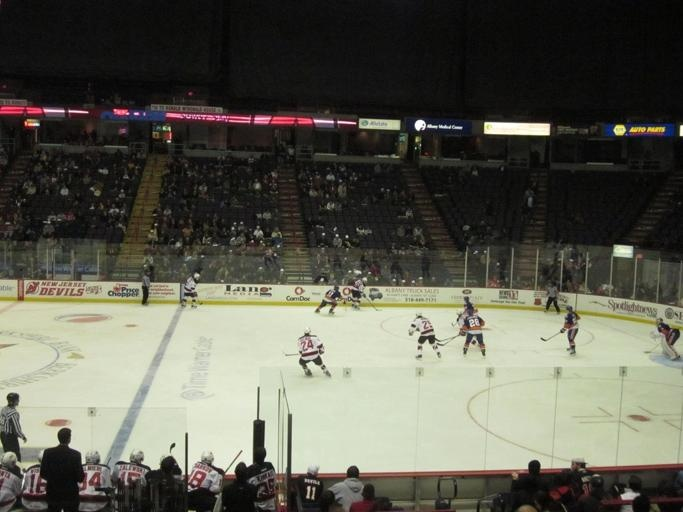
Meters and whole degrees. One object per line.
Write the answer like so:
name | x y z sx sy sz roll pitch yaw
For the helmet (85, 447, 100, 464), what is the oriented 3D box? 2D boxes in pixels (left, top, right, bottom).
helmet | -3.649 2.951 11.249 0.153 0.200 0.196 1 12 -2

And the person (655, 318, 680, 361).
person | 8.951 2.282 20.823 0.533 1.119 1.527 -2 -6 23

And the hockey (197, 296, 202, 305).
hockey | -5.082 1.600 27.431 0.217 0.267 0.076 3 -6 -28

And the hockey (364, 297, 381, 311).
hockey | 1.158 1.742 27.855 0.130 0.539 0.069 10 -49 -47

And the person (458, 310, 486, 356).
person | 3.585 2.034 20.614 0.577 1.400 0.564 -3 8 11

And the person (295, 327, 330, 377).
person | -0.664 2.211 17.404 0.784 0.642 1.483 -7 38 -14

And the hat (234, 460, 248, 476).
hat | -1.418 3.033 10.843 0.155 0.212 0.206 3 11 -2

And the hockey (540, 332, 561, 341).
hockey | 6.383 2.476 23.380 0.487 0.274 1.369 -4 -6 33

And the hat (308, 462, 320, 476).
hat | -0.404 3.195 11.388 0.172 0.162 0.134 -6 10 1

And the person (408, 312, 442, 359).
person | 2.353 2.286 21.499 0.706 1.229 0.841 -24 31 -32

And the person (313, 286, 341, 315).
person | -0.501 1.543 26.830 0.647 0.341 0.870 9 -40 -31

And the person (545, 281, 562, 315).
person | 7.645 1.503 27.553 0.536 1.147 1.573 -2 -5 16

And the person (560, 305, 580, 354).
person | 6.492 2.091 21.613 0.436 1.358 1.606 -2 -5 16

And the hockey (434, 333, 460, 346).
hockey | 3.112 2.458 22.415 0.698 0.172 0.454 -29 29 -16
